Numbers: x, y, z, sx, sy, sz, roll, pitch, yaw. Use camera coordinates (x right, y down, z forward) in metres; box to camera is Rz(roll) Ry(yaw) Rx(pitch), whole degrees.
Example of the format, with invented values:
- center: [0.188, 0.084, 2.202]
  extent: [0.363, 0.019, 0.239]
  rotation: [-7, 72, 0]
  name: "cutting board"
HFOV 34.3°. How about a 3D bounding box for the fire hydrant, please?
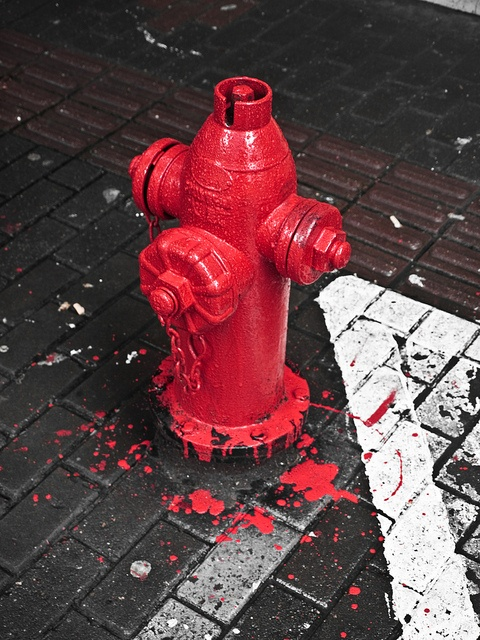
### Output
- center: [-0.003, -0.123, 2.481]
  extent: [0.614, 1.276, 0.542]
  rotation: [-6, 38, -6]
  name: "fire hydrant"
